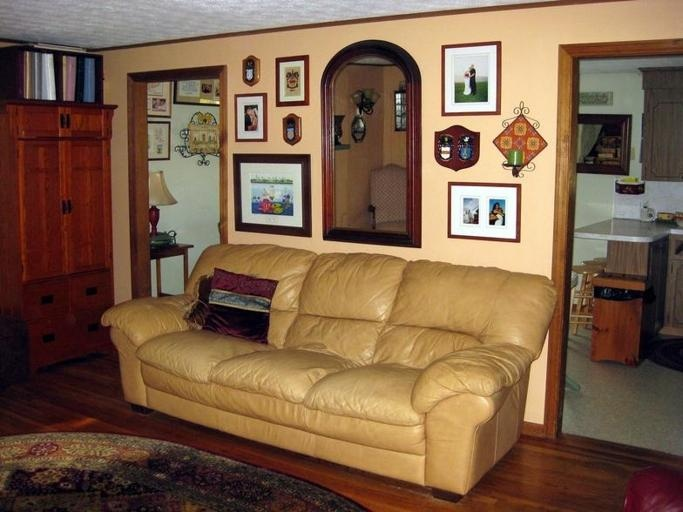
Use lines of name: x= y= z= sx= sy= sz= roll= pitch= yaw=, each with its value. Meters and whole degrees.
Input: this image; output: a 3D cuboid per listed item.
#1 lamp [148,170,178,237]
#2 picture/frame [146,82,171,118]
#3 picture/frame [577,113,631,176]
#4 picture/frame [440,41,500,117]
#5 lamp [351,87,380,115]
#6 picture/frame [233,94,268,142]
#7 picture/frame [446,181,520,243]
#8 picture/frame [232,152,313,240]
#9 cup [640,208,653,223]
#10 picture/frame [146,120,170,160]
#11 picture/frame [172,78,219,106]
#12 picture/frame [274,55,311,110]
lamp: x=-1.920 y=-0.570 z=6.091 sx=0.277 sy=0.659 sz=0.665 roll=-4 pitch=12 yaw=-18
picture/frame: x=-2.014 y=-1.706 z=6.200 sx=0.043 sy=0.355 sz=0.362 roll=15 pitch=21 yaw=25
picture/frame: x=3.331 y=-1.419 z=7.198 sx=0.938 sy=0.927 sz=0.066 roll=7 pitch=10 yaw=39
picture/frame: x=0.912 y=-1.252 z=3.988 sx=0.550 sy=0.613 sz=0.043 roll=3 pitch=8 yaw=29
lamp: x=0.183 y=-1.216 z=4.463 sx=0.172 sy=0.210 sz=0.107 roll=14 pitch=25 yaw=19
picture/frame: x=-0.774 y=-1.198 z=4.887 sx=0.412 sy=0.472 sz=0.033 roll=4 pitch=8 yaw=29
picture/frame: x=1.021 y=-0.322 z=4.049 sx=0.437 sy=0.359 sz=0.031 roll=4 pitch=8 yaw=29
picture/frame: x=-0.564 y=-0.533 z=4.858 sx=0.750 sy=0.642 sz=0.063 roll=4 pitch=9 yaw=28
cup: x=3.694 y=-0.493 z=6.929 sx=0.161 sy=0.163 sz=0.128 roll=-4 pitch=5 yaw=-31
picture/frame: x=-2.050 y=-1.272 z=6.337 sx=0.418 sy=0.408 sz=0.020 roll=8 pitch=10 yaw=34
picture/frame: x=-1.658 y=-1.901 z=6.591 sx=0.095 sy=0.307 sz=0.666 roll=8 pitch=14 yaw=34
picture/frame: x=-0.391 y=-1.429 z=4.643 sx=0.450 sy=0.515 sz=0.053 roll=4 pitch=8 yaw=27
